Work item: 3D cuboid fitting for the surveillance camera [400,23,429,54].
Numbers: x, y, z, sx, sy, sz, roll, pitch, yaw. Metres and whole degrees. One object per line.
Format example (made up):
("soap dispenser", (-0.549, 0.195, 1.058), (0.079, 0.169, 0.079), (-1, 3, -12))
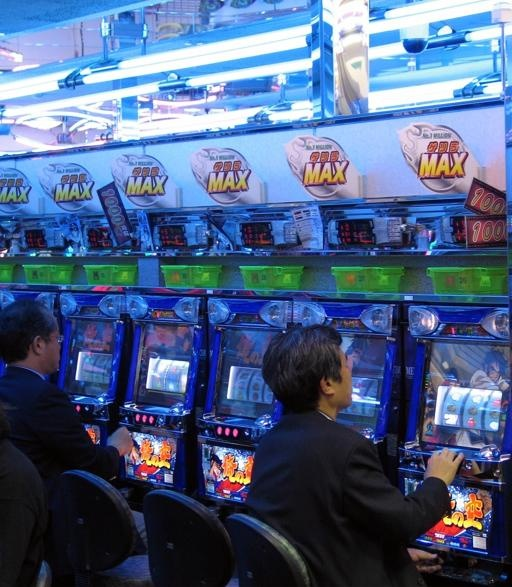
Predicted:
("surveillance camera", (1.481, -2.421, 4.950), (0.255, 0.270, 0.382), (1, -9, 14))
